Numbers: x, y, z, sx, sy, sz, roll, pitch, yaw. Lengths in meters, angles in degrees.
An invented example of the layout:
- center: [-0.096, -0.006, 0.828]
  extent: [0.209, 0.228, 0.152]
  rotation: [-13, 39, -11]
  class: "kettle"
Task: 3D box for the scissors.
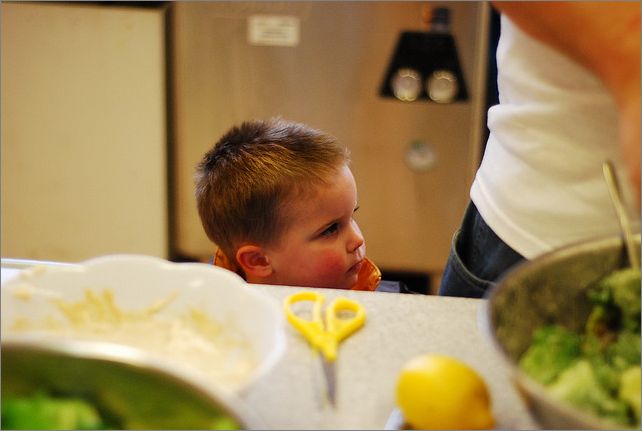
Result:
- center: [0.009, 0.164, 0.846]
  extent: [0.073, 0.016, 0.137]
  rotation: [0, 32, 0]
  class: "scissors"
